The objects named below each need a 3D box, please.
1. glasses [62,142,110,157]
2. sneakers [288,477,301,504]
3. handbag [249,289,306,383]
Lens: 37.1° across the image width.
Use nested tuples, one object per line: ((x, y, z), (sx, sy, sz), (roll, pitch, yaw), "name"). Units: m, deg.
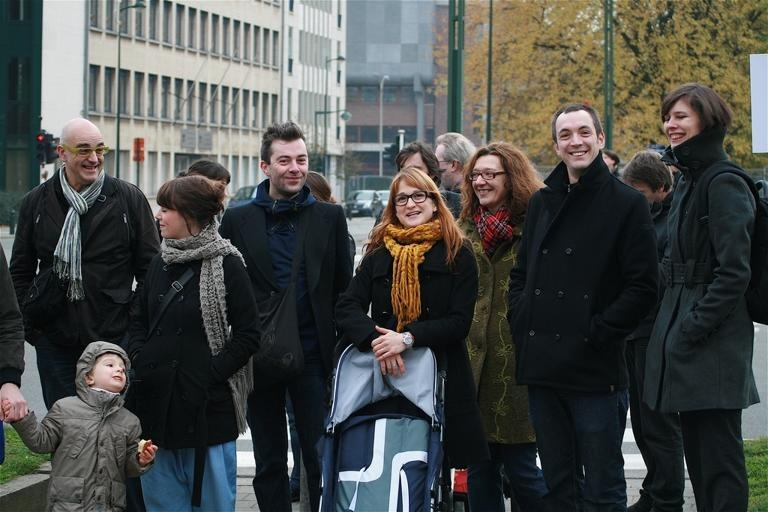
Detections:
((-2.631, -0.922, 10.056), (0.394, 0.114, 0.232), (0, -1, -28), "glasses")
((-0.861, 2.248, 10.977), (0.078, 0.180, 0.423), (-1, -1, -7), "sneakers")
((-0.894, 0.686, 9.409), (0.511, 0.579, 0.224), (-29, -31, 18), "handbag")
